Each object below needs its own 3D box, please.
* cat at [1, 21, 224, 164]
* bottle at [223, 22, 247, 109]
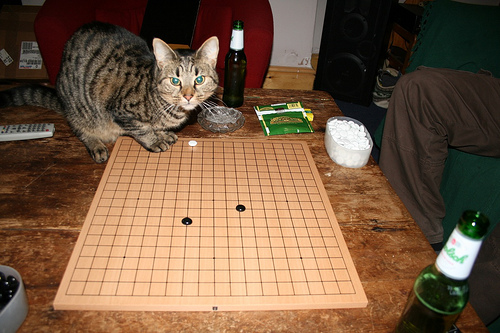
[{"bbox_3d":[-0.597,-0.362,1.428,0.972,0.466,0.600,5,29,-2],"label":"cat"},{"bbox_3d":[-0.068,-0.488,1.540,0.135,0.392,0.143,4,30,-2],"label":"bottle"}]
